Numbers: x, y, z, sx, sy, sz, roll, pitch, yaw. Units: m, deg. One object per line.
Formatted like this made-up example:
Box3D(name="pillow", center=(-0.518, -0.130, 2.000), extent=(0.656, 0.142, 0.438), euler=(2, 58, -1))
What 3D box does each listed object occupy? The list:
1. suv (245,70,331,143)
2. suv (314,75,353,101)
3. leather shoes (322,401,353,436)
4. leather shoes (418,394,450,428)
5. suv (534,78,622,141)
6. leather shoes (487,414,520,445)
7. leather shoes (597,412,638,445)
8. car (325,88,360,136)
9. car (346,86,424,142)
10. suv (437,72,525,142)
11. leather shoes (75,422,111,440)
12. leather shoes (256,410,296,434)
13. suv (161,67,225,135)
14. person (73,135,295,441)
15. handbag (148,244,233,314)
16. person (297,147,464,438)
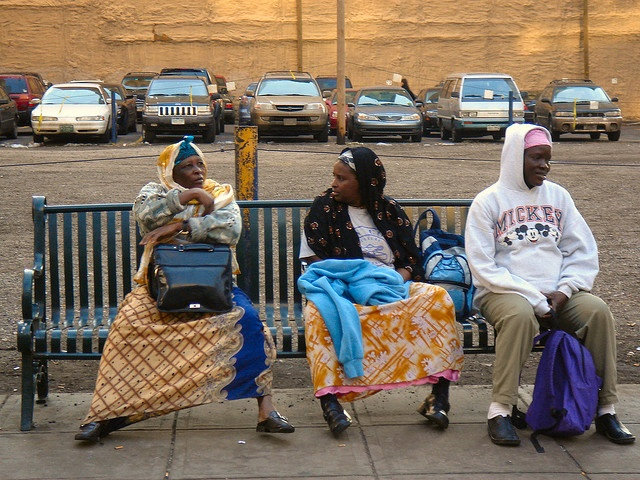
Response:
Box3D(name="suv", center=(-0.830, -3.272, 23.908), extent=(2.006, 1.236, 2.871), euler=(0, 0, -5))
Box3D(name="suv", center=(0.543, -4.930, 31.024), extent=(1.399, 0.823, 1.901), euler=(-1, 2, -5))
Box3D(name="leather shoes", center=(0.081, 1.175, 6.453), extent=(0.147, 0.116, 0.319), euler=(39, 2, -23))
Box3D(name="leather shoes", center=(0.768, 1.164, 6.628), extent=(0.209, 0.217, 0.255), euler=(-1, 12, 5))
Box3D(name="suv", center=(6.571, -3.350, 25.221), extent=(1.702, 0.863, 2.440), euler=(0, 2, -4))
Box3D(name="leather shoes", center=(1.204, 1.261, 6.429), extent=(0.179, 0.180, 0.176), euler=(-3, 13, -3))
Box3D(name="leather shoes", center=(1.934, 1.259, 6.450), extent=(0.141, 0.097, 0.296), euler=(-13, 12, -30))
Box3D(name="car", center=(0.659, -3.608, 27.203), extent=(1.043, 0.626, 1.662), euler=(-1, 3, -2))
Box3D(name="car", center=(1.600, -3.075, 24.320), extent=(1.789, 1.326, 1.791), euler=(-2, 12, 2))
Box3D(name="suv", center=(4.004, -3.415, 25.060), extent=(2.038, 1.156, 2.775), euler=(-1, 3, -9))
Box3D(name="leather shoes", center=(-1.478, 1.252, 6.341), extent=(0.112, 0.079, 0.240), euler=(0, -6, 22))
Box3D(name="leather shoes", center=(-0.300, 1.219, 6.481), extent=(0.291, 0.089, 0.117), euler=(-4, -5, 31))
Box3D(name="suv", center=(-3.507, -3.349, 23.667), extent=(1.829, 1.159, 3.006), euler=(-1, 18, -7))
Box3D(name="person", center=(-1.043, 0.300, 6.621), extent=(1.357, 1.957, 1.033), euler=(-4, 14, -6))
Box3D(name="handbag", center=(-0.764, 0.307, 6.642), extent=(0.830, 0.496, 0.491), euler=(1, -11, -6))
Box3D(name="person", center=(0.392, 0.328, 6.703), extent=(1.086, 1.860, 1.056), euler=(-3, 14, -2))
